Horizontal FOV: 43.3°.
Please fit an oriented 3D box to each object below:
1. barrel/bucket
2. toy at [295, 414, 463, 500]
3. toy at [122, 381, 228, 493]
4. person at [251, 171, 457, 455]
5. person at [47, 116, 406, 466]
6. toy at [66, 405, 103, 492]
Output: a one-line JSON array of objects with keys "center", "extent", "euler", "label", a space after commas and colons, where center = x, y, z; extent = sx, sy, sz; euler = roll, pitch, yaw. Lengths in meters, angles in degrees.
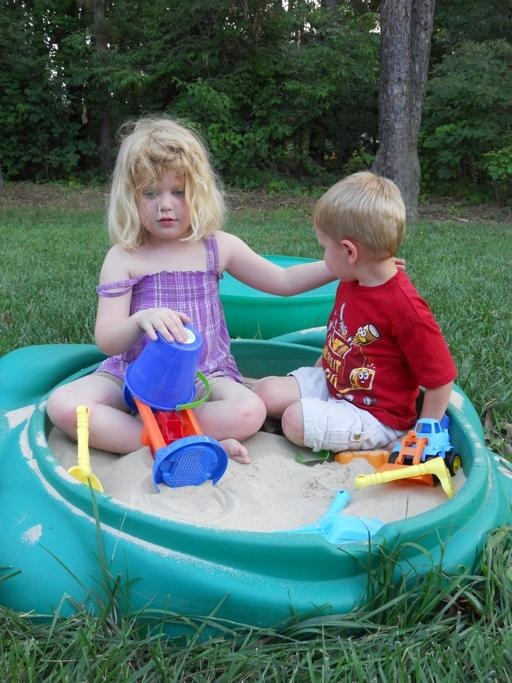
[{"center": [-0.203, 0.063, 1.583], "extent": [0.178, 0.163, 0.177], "euler": [19, 27, -10], "label": "barrel/bucket"}, {"center": [0.362, 0.256, 1.503], "extent": [0.264, 0.115, 0.158], "euler": [-10, 6, -37], "label": "toy"}, {"center": [-0.195, 0.210, 1.524], "extent": [0.155, 0.129, 0.264], "euler": [-5, 33, -31], "label": "toy"}, {"center": [0.249, -0.069, 1.736], "extent": [0.577, 0.748, 0.349], "euler": [3, 16, 19], "label": "person"}, {"center": [-0.107, -0.166, 1.853], "extent": [1.071, 0.869, 0.556], "euler": [-3, 21, -16], "label": "person"}, {"center": [-0.387, 0.246, 1.456], "extent": [0.086, 0.023, 0.223], "euler": [3, 48, -6], "label": "toy"}]
